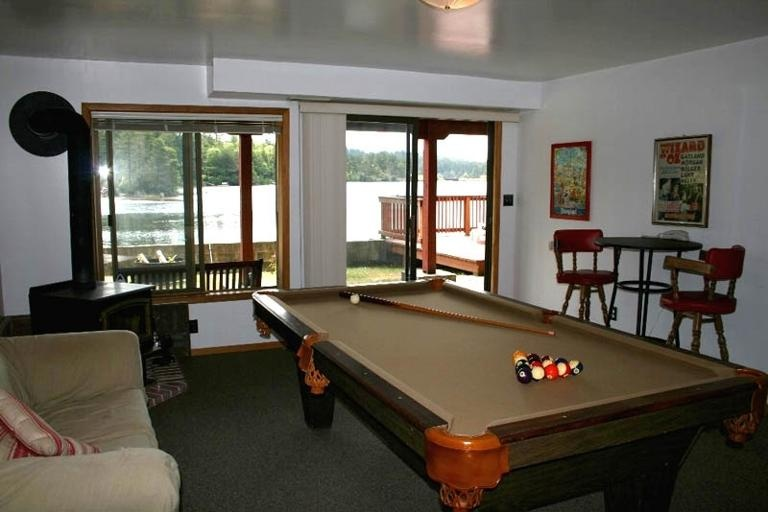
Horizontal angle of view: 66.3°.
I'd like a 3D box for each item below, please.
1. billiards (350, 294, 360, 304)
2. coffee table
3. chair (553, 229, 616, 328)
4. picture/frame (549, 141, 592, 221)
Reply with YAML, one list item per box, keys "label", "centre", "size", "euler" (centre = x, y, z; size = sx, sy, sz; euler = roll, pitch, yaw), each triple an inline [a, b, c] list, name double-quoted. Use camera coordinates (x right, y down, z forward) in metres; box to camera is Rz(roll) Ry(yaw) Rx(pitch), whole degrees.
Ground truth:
- label: "billiards"
  centre: [-0.218, 0.333, 4.472]
  size: [0.064, 0.062, 0.064]
  euler: [1, -4, 35]
- label: "coffee table"
  centre: [2.331, 0.143, 5.412]
  size: [0.782, 1.153, 0.880]
  euler: [-2, 10, -26]
- label: "chair"
  centre: [2.014, 0.206, 5.853]
  size: [0.503, 0.929, 0.587]
  euler: [6, 14, 2]
- label: "picture/frame"
  centre: [2.097, -0.832, 6.623]
  size: [0.109, 0.861, 0.509]
  euler: [-9, 10, -35]
